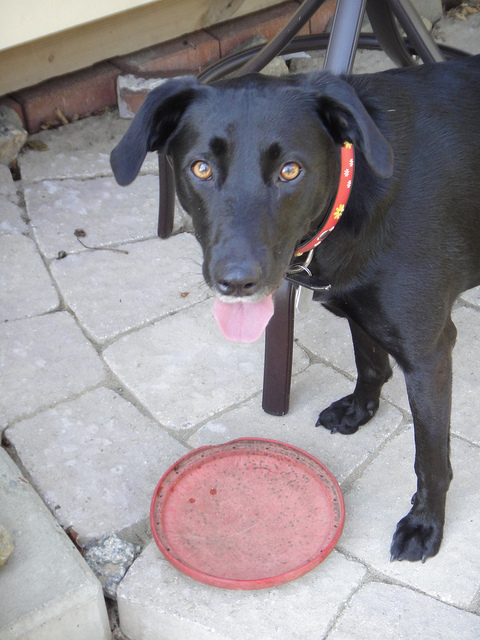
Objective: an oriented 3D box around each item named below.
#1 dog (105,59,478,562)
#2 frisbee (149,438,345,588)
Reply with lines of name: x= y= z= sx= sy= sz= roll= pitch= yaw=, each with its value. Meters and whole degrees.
dog: x=0.248 y=-0.114 z=1.951 sx=0.928 sy=1.224 sz=1.012 roll=8 pitch=35 yaw=14
frisbee: x=0.015 y=0.535 z=1.869 sx=0.537 sy=0.089 sz=0.487 roll=-15 pitch=40 yaw=-12
